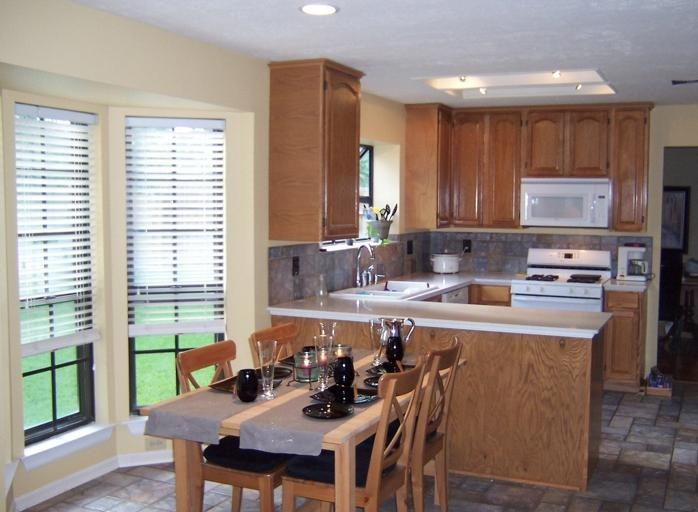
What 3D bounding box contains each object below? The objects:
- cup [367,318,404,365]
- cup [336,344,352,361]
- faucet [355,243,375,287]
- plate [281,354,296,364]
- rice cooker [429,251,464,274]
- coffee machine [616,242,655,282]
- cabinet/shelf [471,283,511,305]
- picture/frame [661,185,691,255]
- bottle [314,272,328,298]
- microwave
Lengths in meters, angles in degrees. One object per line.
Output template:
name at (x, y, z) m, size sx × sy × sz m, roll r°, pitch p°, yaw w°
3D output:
cup at (0.212, 0.480, 3.026) m, size 0.272 × 0.289 × 0.188 m, roll 0°, pitch -7°, yaw 6°
cup at (-0.028, 0.500, 2.791) m, size 0.070 × 0.051 × 0.072 m, roll 1°, pitch -2°, yaw 0°
faucet at (0.180, 0.079, 5.269) m, size 0.127 × 0.396 × 0.382 m, roll 3°, pitch 6°, yaw 29°
plate at (-0.349, 0.613, 3.188) m, size 0.074 × 0.029 × 0.098 m, roll 9°, pitch 4°, yaw 13°
rice cooker at (1.119, 0.080, 6.295) m, size 0.294 × 0.174 × 0.248 m, roll 0°, pitch 1°, yaw 4°
coffee machine at (3.037, 0.047, 5.745) m, size 0.378 × 0.450 × 0.348 m, roll -1°, pitch 1°, yaw 28°
cabinet/shelf at (1.485, 0.408, 5.726) m, size 0.414 × 0.218 × 0.089 m, roll 1°, pitch 5°, yaw 11°
picture/frame at (3.895, -0.422, 6.463) m, size 0.279 × 0.829 × 0.776 m, roll 3°, pitch 6°, yaw 31°
bottle at (-0.236, 0.244, 4.615) m, size 0.086 × 0.188 × 0.303 m, roll 0°, pitch 5°, yaw -4°
microwave at (2.352, -0.491, 5.925) m, size 0.913 × 0.555 × 0.538 m, roll 1°, pitch 2°, yaw 23°
